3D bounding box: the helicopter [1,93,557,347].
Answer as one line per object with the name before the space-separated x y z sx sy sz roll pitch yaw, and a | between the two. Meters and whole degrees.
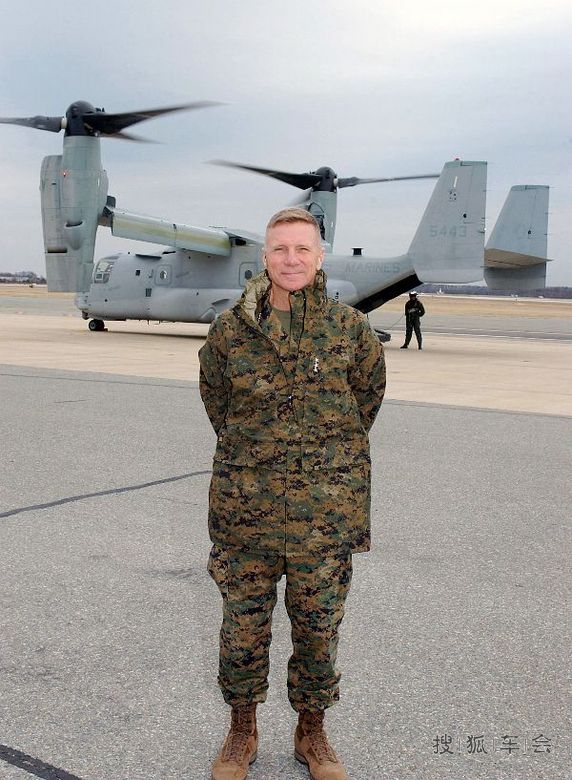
helicopter | -0.620 -4.727 23.614 11.778 4.414 12.373 6 8 28
